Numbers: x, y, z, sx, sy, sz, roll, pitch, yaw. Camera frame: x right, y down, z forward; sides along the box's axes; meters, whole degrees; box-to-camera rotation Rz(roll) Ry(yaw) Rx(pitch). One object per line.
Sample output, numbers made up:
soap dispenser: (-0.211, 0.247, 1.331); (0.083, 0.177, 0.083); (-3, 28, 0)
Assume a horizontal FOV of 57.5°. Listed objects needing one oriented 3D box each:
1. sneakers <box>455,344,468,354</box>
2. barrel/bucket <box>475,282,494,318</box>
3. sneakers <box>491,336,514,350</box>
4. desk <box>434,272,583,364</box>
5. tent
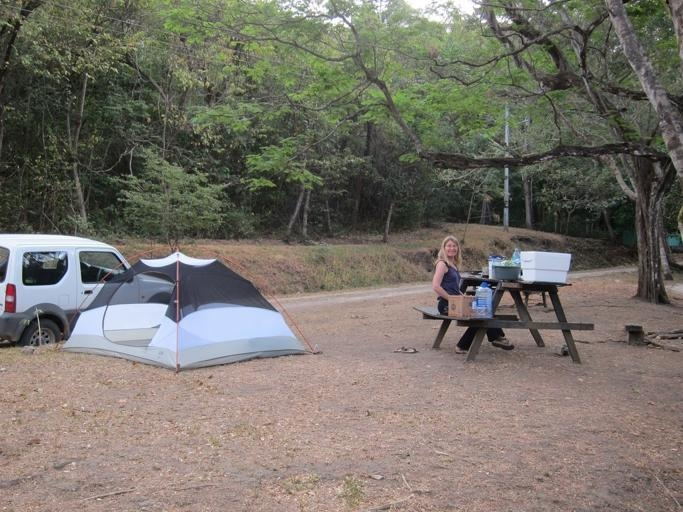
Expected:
sneakers: (2.229, 1.762, 11.562); (0.282, 0.188, 0.100); (-1, 5, 1)
barrel/bucket: (2.533, 0.804, 11.124); (0.404, 0.598, 0.394); (1, -2, 0)
sneakers: (3.093, 1.662, 11.826); (0.452, 0.187, 0.168); (8, 16, 42)
desk: (3.093, 1.128, 11.358); (1.986, 0.996, 2.062); (0, 1, -16)
tent: (-3.045, 1.150, 11.521); (2.717, 1.231, 2.753); (4, 3, 33)
